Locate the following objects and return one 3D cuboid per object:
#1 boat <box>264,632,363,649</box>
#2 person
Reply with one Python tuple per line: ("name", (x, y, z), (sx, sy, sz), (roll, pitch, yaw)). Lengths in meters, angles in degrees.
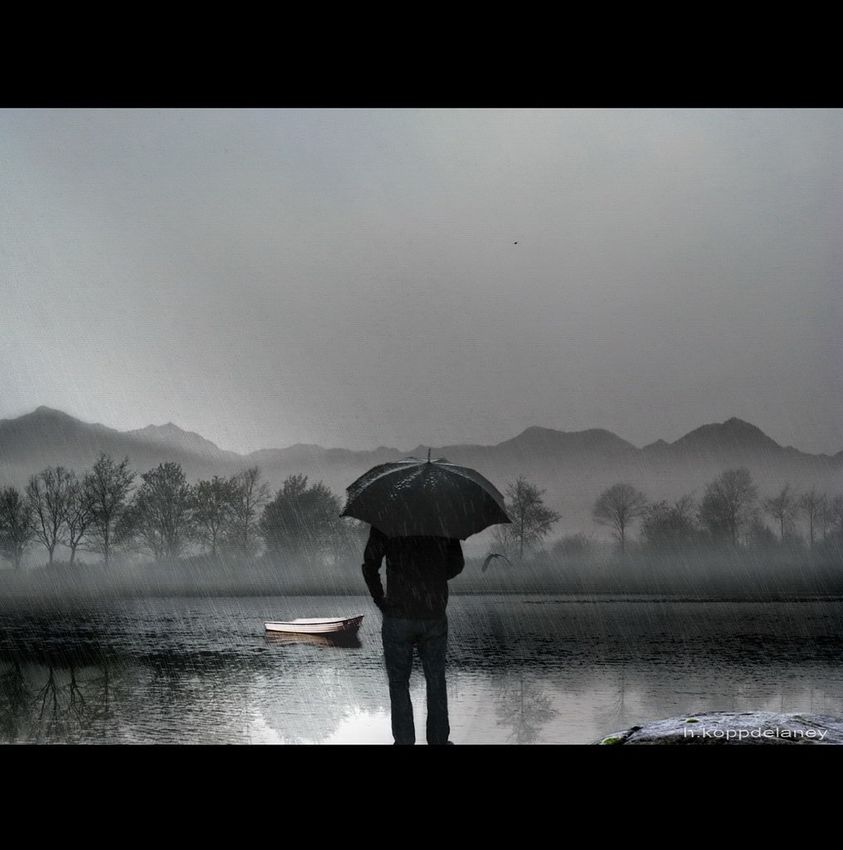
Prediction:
("boat", (-2.415, 4.779, 24.642), (2.371, 0.532, 0.565), (-13, -22, 42))
("person", (-0.075, 1.042, 6.844), (0.563, 2.113, 0.526), (-5, 27, -8))
